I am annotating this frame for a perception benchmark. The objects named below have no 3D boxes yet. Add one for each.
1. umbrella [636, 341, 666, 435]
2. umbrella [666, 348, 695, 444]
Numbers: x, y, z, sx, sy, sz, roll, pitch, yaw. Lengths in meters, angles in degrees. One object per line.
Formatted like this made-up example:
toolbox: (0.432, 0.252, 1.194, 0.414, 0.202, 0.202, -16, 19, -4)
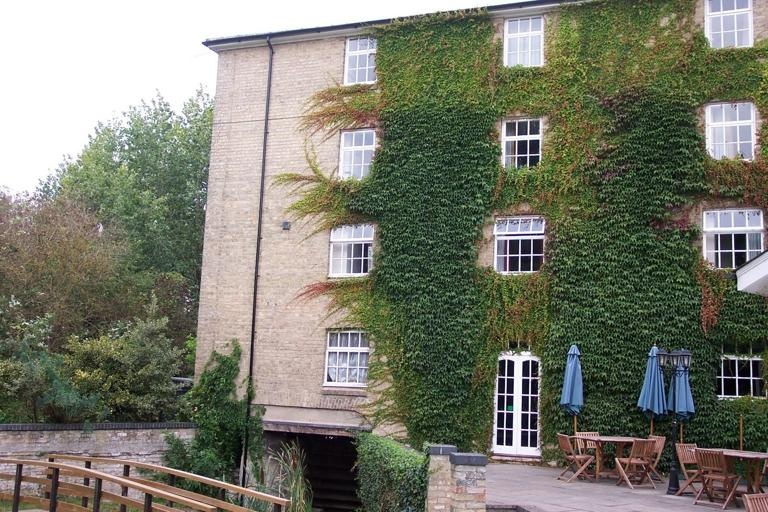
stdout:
umbrella: (8.505, 3.943, 32.828, 0.858, 2.345, 0.819, -3, -9, 15)
umbrella: (9.211, 4.089, 32.134, 0.843, 2.259, 2.309, -3, -9, 16)
